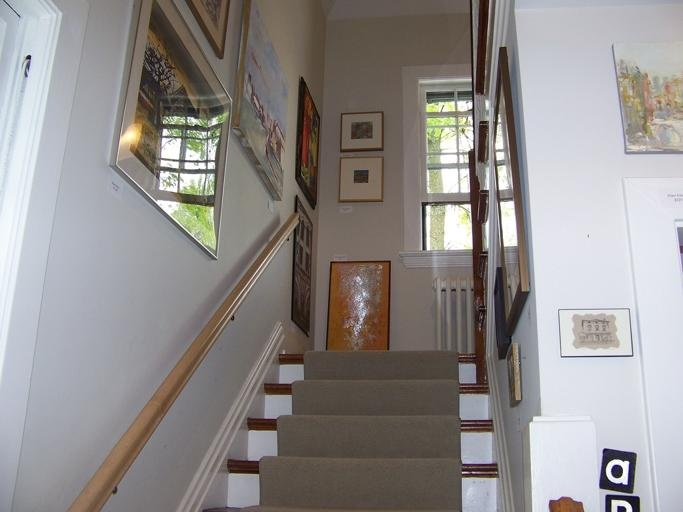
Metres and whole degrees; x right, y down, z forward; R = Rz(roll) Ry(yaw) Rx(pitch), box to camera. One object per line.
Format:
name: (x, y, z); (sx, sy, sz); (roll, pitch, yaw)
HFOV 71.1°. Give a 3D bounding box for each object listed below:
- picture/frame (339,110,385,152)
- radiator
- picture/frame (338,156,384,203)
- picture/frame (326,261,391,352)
picture/frame: (0.249, -1.435, 5.593); (0.413, 0.433, 0.058); (0, -7, 1)
radiator: (1.152, 0.596, 4.931); (0.398, 0.751, 0.260); (-1, -4, 13)
picture/frame: (0.238, -0.852, 5.457); (0.461, 0.526, 0.050); (0, -15, 3)
picture/frame: (0.183, 0.512, 5.064); (0.644, 0.892, 0.330); (0, -4, -3)
